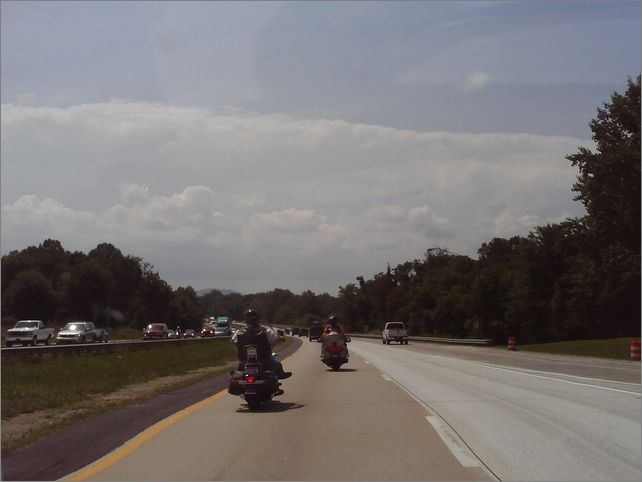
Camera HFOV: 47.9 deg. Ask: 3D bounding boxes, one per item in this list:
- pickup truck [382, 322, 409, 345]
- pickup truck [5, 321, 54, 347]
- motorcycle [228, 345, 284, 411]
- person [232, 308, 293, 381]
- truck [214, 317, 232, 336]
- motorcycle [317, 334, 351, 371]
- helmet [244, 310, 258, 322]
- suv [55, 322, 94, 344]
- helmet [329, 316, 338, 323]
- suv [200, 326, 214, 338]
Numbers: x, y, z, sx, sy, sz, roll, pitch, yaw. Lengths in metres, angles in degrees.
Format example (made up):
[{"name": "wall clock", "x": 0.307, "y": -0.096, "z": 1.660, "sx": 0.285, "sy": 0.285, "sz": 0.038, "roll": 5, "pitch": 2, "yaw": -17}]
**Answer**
[{"name": "pickup truck", "x": 6.974, "y": 8.523, "z": 67.182, "sx": 2.048, "sy": 1.970, "sz": 3.804, "roll": 1, "pitch": -4, "yaw": 0}, {"name": "pickup truck", "x": -19.280, "y": 6.107, "z": 48.230, "sx": 1.883, "sy": 1.560, "sz": 4.151, "roll": 1, "pitch": -4, "yaw": 2}, {"name": "motorcycle", "x": -1.845, "y": 3.868, "z": 20.021, "sx": 0.796, "sy": 1.277, "sz": 2.090, "roll": 0, "pitch": -4, "yaw": 4}, {"name": "person", "x": -1.726, "y": 2.814, "z": 20.312, "sx": 1.071, "sy": 1.318, "sz": 1.918, "roll": 0, "pitch": -21, "yaw": 7}, {"name": "truck", "x": -11.791, "y": 10.363, "z": 87.150, "sx": 1.828, "sy": 2.214, "sz": 3.544, "roll": 3, "pitch": -3, "yaw": -1}, {"name": "motorcycle", "x": 0.628, "y": 4.572, "z": 30.370, "sx": 1.124, "sy": 1.566, "sz": 1.151, "roll": 0, "pitch": -3, "yaw": 2}, {"name": "helmet", "x": -1.969, "y": 2.041, "z": 20.564, "sx": 0.265, "sy": 0.396, "sz": 0.354, "roll": 3, "pitch": 9, "yaw": -3}, {"name": "suv", "x": -17.340, "y": 6.541, "z": 51.672, "sx": 1.343, "sy": 1.318, "sz": 2.737, "roll": -2, "pitch": -14, "yaw": 5}, {"name": "helmet", "x": 0.519, "y": 3.137, "z": 29.193, "sx": 0.263, "sy": 0.407, "sz": 0.356, "roll": 2, "pitch": -13, "yaw": 29}, {"name": "suv", "x": -13.493, "y": 10.810, "z": 87.097, "sx": 1.378, "sy": 0.963, "sz": 2.697, "roll": 1, "pitch": -8, "yaw": -5}]
